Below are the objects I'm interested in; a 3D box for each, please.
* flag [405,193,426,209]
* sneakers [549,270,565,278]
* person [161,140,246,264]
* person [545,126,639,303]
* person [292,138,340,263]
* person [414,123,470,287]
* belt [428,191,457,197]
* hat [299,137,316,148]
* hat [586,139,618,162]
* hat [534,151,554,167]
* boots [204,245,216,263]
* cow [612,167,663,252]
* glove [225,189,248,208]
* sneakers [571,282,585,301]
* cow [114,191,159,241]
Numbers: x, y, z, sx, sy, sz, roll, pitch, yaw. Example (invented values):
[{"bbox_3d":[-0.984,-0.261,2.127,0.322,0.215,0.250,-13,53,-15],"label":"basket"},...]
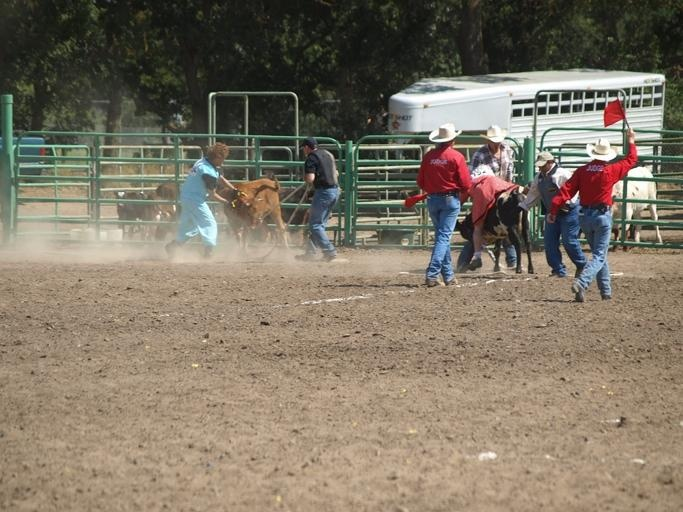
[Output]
[{"bbox_3d":[1.095,-0.752,12.872,0.291,0.108,0.211,-18,9,42],"label":"flag"},{"bbox_3d":[3.136,0.271,12.814,0.115,0.115,0.089,-10,-8,41],"label":"sneakers"},{"bbox_3d":[-2.320,-0.898,14.701,0.997,1.877,1.375,0,3,-10],"label":"person"},{"bbox_3d":[3.186,-0.514,11.223,1.038,2.191,0.703,2,3,14],"label":"person"},{"bbox_3d":[-0.343,-0.897,14.386,0.618,1.979,0.714,1,3,-1],"label":"person"},{"bbox_3d":[1.394,-0.670,12.068,0.735,2.192,0.498,1,3,13],"label":"person"},{"bbox_3d":[1.384,-0.823,11.974,0.380,0.075,0.106,2,3,13],"label":"belt"},{"bbox_3d":[-0.503,-1.797,14.251,0.227,0.203,0.429,1,3,-3],"label":"hat"},{"bbox_3d":[3.265,-1.325,11.204,0.307,0.161,0.409,-2,38,-8],"label":"hat"},{"bbox_3d":[2.856,-1.343,12.402,0.246,0.137,0.173,-12,6,-43],"label":"hat"},{"bbox_3d":[-2.200,-0.054,14.807,0.242,0.255,0.137,2,7,4],"label":"boots"},{"bbox_3d":[5.407,-0.995,16.809,0.841,1.396,2.423,-4,-5,30],"label":"cow"},{"bbox_3d":[-1.773,-0.932,15.068,0.247,0.130,0.348,12,-22,-7],"label":"glove"},{"bbox_3d":[2.973,0.452,11.106,0.143,0.312,0.114,-15,9,-22],"label":"sneakers"},{"bbox_3d":[-4.153,-0.842,17.917,0.643,0.907,1.648,-1,5,-16],"label":"cow"}]
